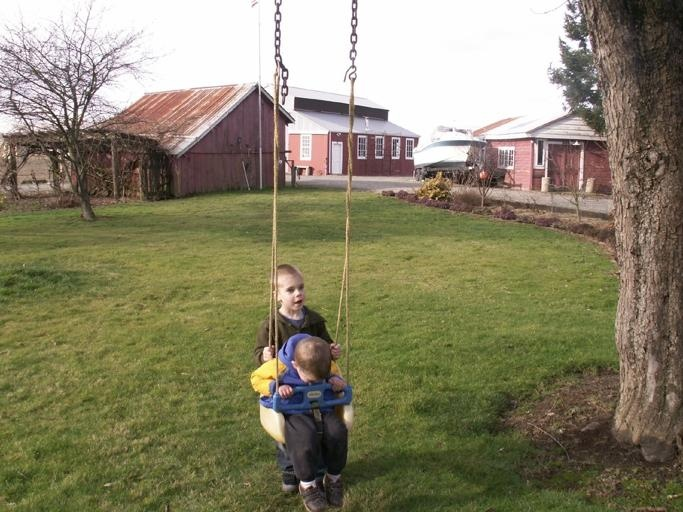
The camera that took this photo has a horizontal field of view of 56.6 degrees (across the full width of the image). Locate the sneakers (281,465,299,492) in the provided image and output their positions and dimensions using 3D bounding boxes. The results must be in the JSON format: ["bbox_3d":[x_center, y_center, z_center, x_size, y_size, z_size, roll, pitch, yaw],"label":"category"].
[{"bbox_3d":[-0.364,1.592,4.503,0.074,0.089,0.211,1,0,-10],"label":"sneakers"}]

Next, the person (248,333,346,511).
[{"bbox_3d":[-0.243,1.126,4.322,0.629,1.086,0.542,-2,14,-5],"label":"person"}]

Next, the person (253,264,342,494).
[{"bbox_3d":[-0.286,0.909,4.587,0.618,1.635,0.526,-6,-7,-19],"label":"person"}]
